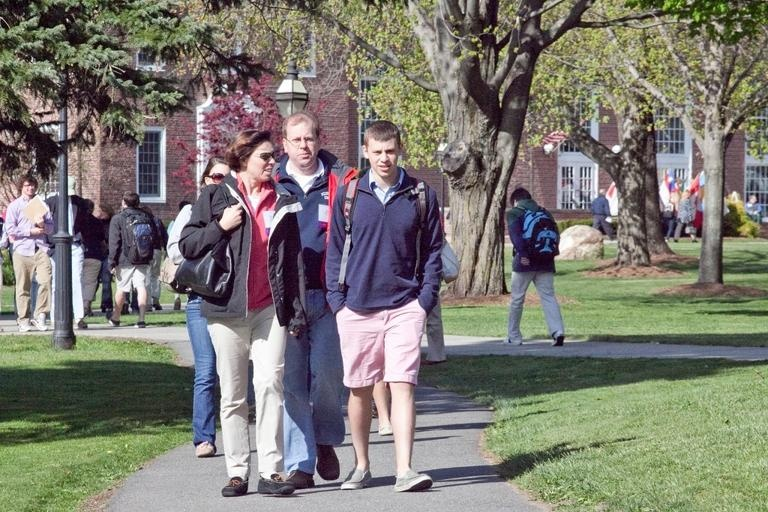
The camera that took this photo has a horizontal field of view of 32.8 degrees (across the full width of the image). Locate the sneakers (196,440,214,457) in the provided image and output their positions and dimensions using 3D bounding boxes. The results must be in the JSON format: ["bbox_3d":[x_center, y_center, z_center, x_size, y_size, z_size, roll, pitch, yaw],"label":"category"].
[{"bbox_3d":[-2.120,2.284,15.331,0.131,0.152,0.375,2,-9,-3],"label":"sneakers"}]

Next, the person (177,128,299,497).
[{"bbox_3d":[-1.510,0.621,14.379,1.255,4.059,0.448,-2,-1,-7],"label":"person"}]

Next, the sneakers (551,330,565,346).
[{"bbox_3d":[2.911,1.374,21.778,0.250,0.277,0.589,1,-1,5],"label":"sneakers"}]

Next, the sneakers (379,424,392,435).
[{"bbox_3d":[0.016,2.177,16.198,0.094,0.100,0.249,0,-10,-10],"label":"sneakers"}]

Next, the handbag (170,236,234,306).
[{"bbox_3d":[-2.006,0.139,14.463,0.728,0.731,0.321,3,-17,42],"label":"handbag"}]

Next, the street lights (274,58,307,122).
[{"bbox_3d":[-1.813,-3.191,25.331,0.581,1.158,0.515,8,11,41],"label":"street lights"}]

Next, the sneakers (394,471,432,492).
[{"bbox_3d":[0.326,2.472,14.210,0.406,0.190,0.194,-8,-16,20],"label":"sneakers"}]

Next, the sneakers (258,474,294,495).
[{"bbox_3d":[-1.183,2.527,14.324,0.460,0.224,0.175,-2,-2,12],"label":"sneakers"}]

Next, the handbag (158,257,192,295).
[{"bbox_3d":[-2.680,0.230,16.611,0.228,0.292,0.721,23,4,-17],"label":"handbag"}]

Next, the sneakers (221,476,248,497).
[{"bbox_3d":[-1.637,2.549,14.255,0.133,0.166,0.370,2,-16,13],"label":"sneakers"}]
